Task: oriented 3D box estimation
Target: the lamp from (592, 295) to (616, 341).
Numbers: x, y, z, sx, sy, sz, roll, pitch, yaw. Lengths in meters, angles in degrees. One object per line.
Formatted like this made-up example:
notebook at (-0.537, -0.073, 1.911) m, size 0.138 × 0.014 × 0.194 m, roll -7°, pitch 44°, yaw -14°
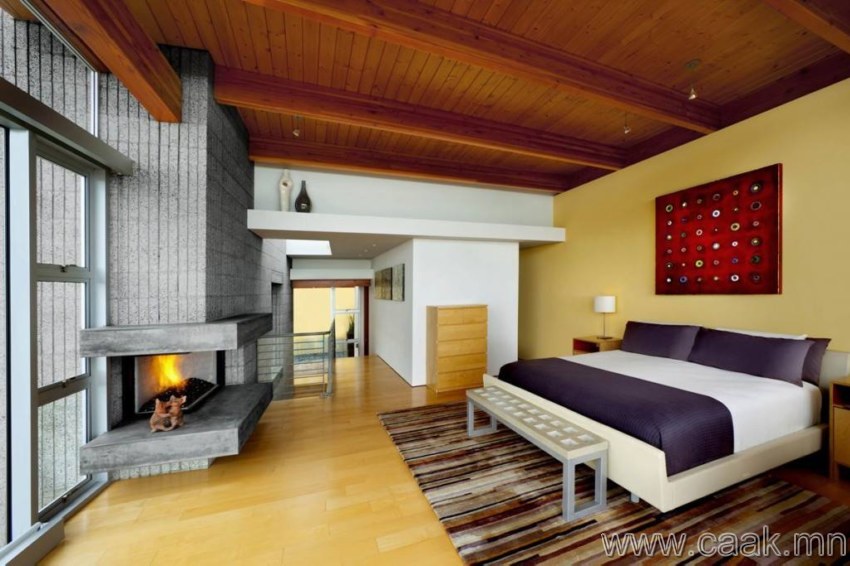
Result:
lamp at (2.457, 0.466, 7.190) m, size 0.270 × 0.575 × 0.395 m, roll 1°, pitch 3°, yaw 19°

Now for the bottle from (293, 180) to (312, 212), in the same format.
bottle at (-1.644, -1.147, 6.958) m, size 0.228 × 0.440 × 0.237 m, roll 1°, pitch 3°, yaw 0°
